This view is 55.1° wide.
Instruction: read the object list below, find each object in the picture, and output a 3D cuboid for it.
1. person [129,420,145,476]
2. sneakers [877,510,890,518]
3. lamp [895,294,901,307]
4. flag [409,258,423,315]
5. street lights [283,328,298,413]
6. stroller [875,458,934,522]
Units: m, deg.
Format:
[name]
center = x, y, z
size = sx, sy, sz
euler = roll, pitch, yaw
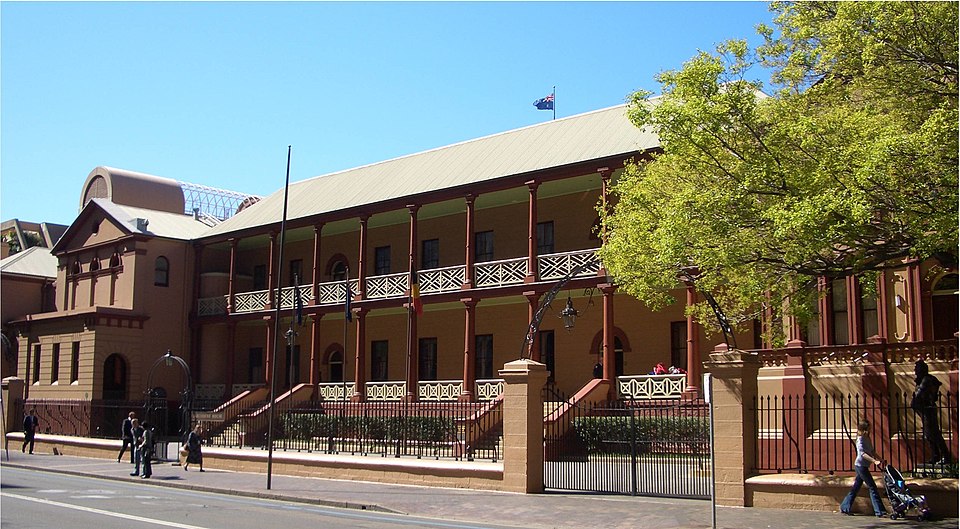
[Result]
[person]
center = -12.977, 6.949, 34.658
size = 0.674, 1.998, 1.262
euler = 1, -29, -20
[sneakers]
center = 10.800, 6.719, 24.673
size = 0.258, 0.082, 0.192
euler = 2, -3, -3
[lamp]
center = 13.944, 1.251, 30.720
size = 0.262, 0.382, 0.082
euler = -7, -15, 20
[flag]
center = -2.842, 0.973, 39.623
size = 0.454, 2.112, 0.251
euler = -3, 9, 18
[street lights]
center = -8.646, 4.373, 41.881
size = 0.774, 3.101, 0.750
euler = 1, -9, -13
[stroller]
center = 11.275, 6.081, 24.538
size = 1.020, 1.430, 0.668
euler = -4, -14, 8
